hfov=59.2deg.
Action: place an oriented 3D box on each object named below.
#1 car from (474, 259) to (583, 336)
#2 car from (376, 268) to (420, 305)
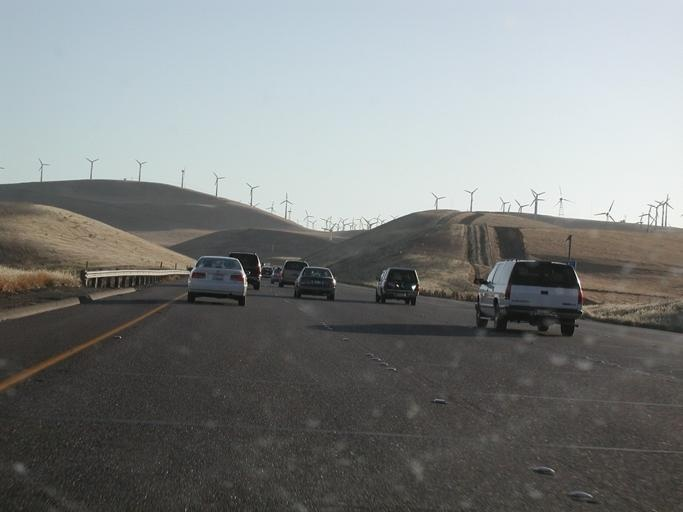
[{"bbox_3d":[6.140,1.350,21.273,2.239,1.776,4.152,3,0,-11],"label":"car"},{"bbox_3d":[3.230,1.690,37.411,1.546,1.499,3.009,1,2,-8],"label":"car"}]
